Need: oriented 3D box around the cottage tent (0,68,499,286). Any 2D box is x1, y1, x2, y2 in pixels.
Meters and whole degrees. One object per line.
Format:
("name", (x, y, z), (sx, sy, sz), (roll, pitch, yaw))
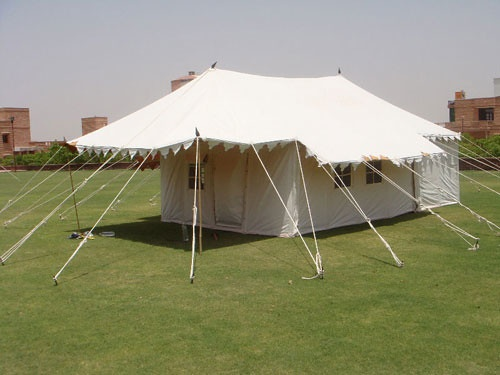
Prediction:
("cottage tent", (0.266, 0.080, 13.180), (7.722, 2.851, 7.914), (2, 3, 44))
